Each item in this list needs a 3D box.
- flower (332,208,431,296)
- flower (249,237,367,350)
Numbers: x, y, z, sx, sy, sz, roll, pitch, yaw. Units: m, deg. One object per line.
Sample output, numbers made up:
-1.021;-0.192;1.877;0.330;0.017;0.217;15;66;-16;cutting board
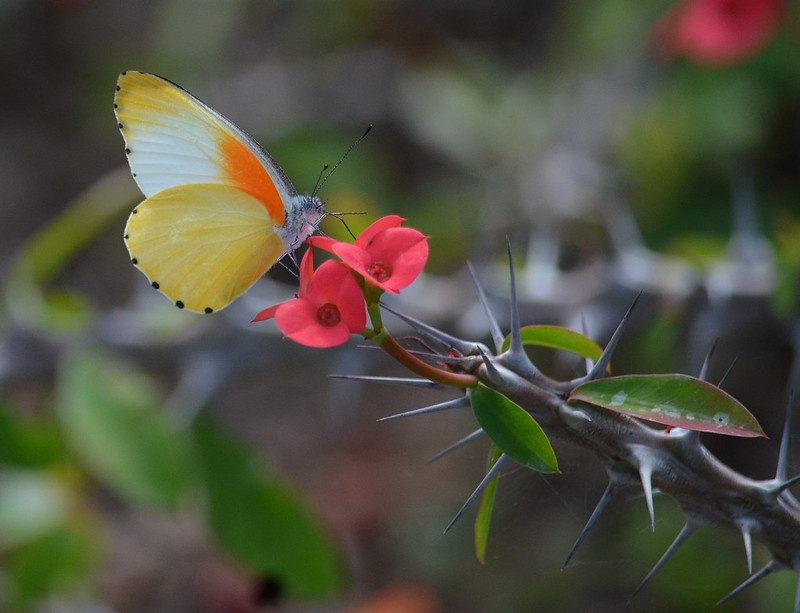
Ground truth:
-0.031;-0.081;1.379;0.130;0.065;0.134;24;36;15;flower
-0.149;-0.021;1.380;0.173;0.078;0.218;1;57;-8;flower
